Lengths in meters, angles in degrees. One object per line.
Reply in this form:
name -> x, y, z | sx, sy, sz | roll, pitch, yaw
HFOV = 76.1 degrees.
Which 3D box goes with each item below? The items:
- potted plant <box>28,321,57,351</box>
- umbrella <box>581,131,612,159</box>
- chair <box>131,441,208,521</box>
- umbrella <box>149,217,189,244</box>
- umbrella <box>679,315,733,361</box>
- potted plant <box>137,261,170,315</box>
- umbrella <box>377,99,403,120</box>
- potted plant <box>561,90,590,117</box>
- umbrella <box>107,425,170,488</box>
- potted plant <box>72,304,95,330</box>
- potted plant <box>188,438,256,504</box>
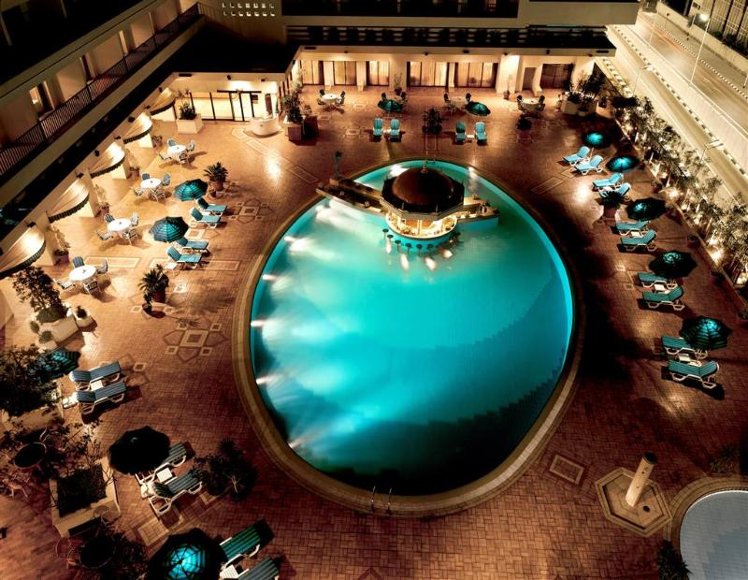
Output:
potted plant -> -14.644, 2.049, 21.368 | 0.475, 1.451, 0.735 | 30, 49, 21
umbrella -> 15.239, -10.078, 32.904 | 1.987, 0.644, 1.826 | 33, 68, 24
chair -> -7.161, 6.722, 17.019 | 2.258, 0.982, 2.172 | -21, 55, -17
umbrella -> -10.640, -3.069, 25.230 | 1.689, 1.365, 1.401 | -14, 41, -15
umbrella -> 13.722, 2.172, 20.138 | 1.657, 0.625, 1.609 | -28, 48, -6
potted plant -> -10.895, -0.307, 23.719 | 1.411, 1.411, 2.894 | -14, 41, -15
umbrella -> 1.317, -14.175, 37.323 | 2.055, 0.769, 1.951 | -1, 57, -1
potted plant -> 15.622, -14.684, 37.715 | 2.070, 1.281, 1.983 | 3, 79, 7
umbrella -> -7.652, 5.281, 15.730 | 1.680, 0.528, 1.819 | 15, 30, 10
potted plant -> -13.455, 1.258, 22.341 | 0.753, 0.843, 0.979 | -22, 44, -23
potted plant -> -5.316, 6.535, 16.977 | 1.988, 1.473, 1.972 | -14, 85, -5
